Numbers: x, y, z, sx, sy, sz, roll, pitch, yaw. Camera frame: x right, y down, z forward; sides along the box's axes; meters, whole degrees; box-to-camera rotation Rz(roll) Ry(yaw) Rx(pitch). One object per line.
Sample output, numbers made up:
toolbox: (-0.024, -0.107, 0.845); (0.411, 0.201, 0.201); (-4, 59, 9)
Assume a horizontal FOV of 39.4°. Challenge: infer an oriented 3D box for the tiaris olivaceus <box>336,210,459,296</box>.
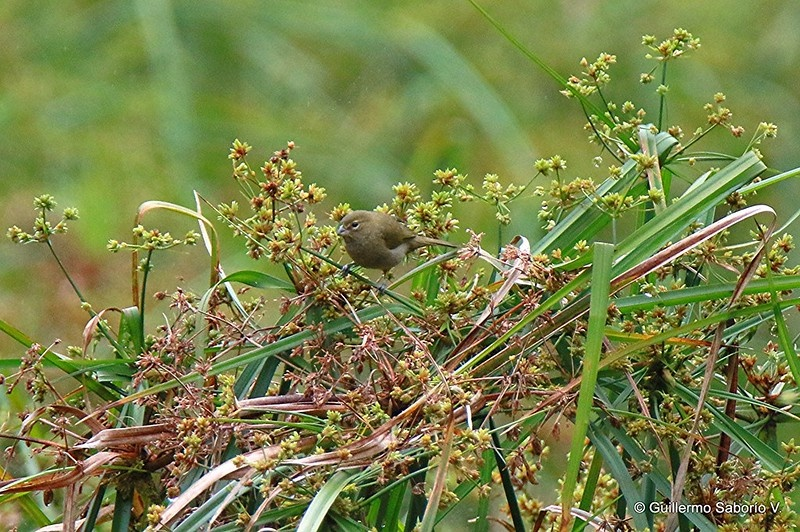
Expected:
tiaris olivaceus: (-0.027, -0.108, 4.562); (0.666, 0.200, 0.271); (-9, -71, -46)
